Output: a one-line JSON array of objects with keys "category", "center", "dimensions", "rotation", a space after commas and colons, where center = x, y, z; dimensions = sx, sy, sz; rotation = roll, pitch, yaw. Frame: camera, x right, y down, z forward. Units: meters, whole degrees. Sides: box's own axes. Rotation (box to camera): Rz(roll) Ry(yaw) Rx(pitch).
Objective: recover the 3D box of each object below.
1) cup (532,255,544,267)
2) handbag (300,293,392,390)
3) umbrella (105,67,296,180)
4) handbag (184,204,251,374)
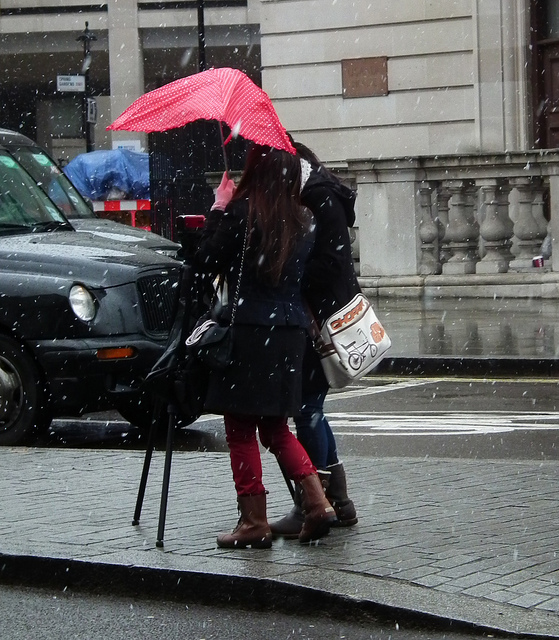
[{"category": "cup", "center": [4.014, -0.947, 15.587], "dimensions": [0.177, 0.193, 0.161], "rotation": [4, 7, 24]}, {"category": "handbag", "center": [0.283, 0.084, 4.088], "dimensions": [0.314, 0.379, 0.148], "rotation": [1, 6, 1]}, {"category": "umbrella", "center": [-0.230, -0.880, 4.126], "dimensions": [0.720, 0.286, 0.659], "rotation": [6, 7, -33]}, {"category": "handbag", "center": [-0.264, -0.130, 3.999], "dimensions": [0.227, 0.660, 0.495], "rotation": [0, 6, -11]}]
